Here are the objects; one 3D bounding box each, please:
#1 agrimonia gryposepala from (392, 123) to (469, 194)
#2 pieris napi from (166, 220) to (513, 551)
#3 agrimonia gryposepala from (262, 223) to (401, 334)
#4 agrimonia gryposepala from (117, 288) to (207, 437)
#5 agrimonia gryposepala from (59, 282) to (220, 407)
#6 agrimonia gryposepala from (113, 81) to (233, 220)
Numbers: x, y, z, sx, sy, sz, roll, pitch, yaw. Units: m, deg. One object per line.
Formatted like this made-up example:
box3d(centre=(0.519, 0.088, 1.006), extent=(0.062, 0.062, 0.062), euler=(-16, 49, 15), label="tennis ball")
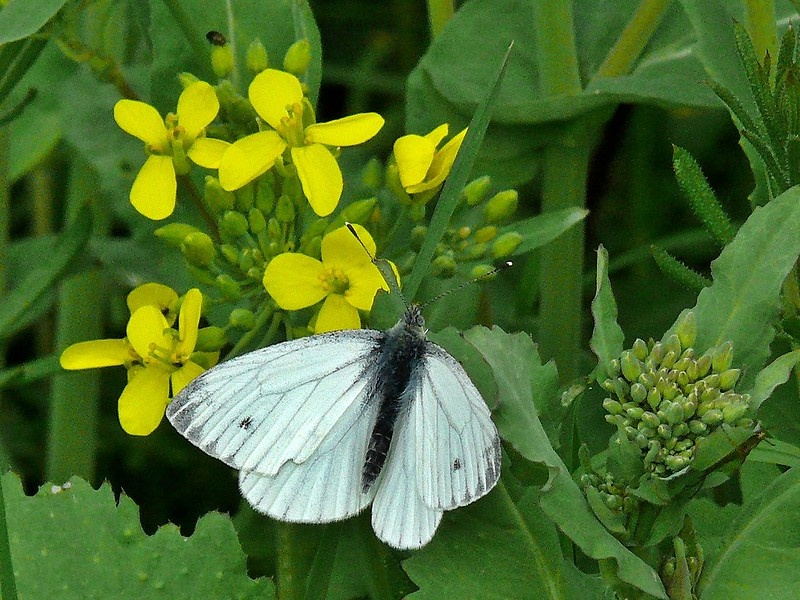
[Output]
box3d(centre=(0.046, -0.259, 1.826), extent=(0.093, 0.153, 0.110), euler=(0, 26, -5), label="agrimonia gryposepala")
box3d(centre=(-0.102, 0.248, 2.004), extent=(0.625, 0.571, 0.993), euler=(-5, 22, 0), label="pieris napi")
box3d(centre=(-0.133, -0.027, 1.760), extent=(0.195, 0.213, 0.074), euler=(3, 4, -4), label="agrimonia gryposepala")
box3d(centre=(-0.440, 0.114, 1.820), extent=(0.103, 0.235, 0.221), euler=(2, 31, -42), label="agrimonia gryposepala")
box3d(centre=(-0.454, 0.107, 1.821), extent=(0.227, 0.100, 0.232), euler=(-41, 81, -17), label="agrimonia gryposepala")
box3d(centre=(-0.412, -0.272, 1.883), extent=(0.222, 0.255, 0.119), euler=(-16, 1, 7), label="agrimonia gryposepala")
